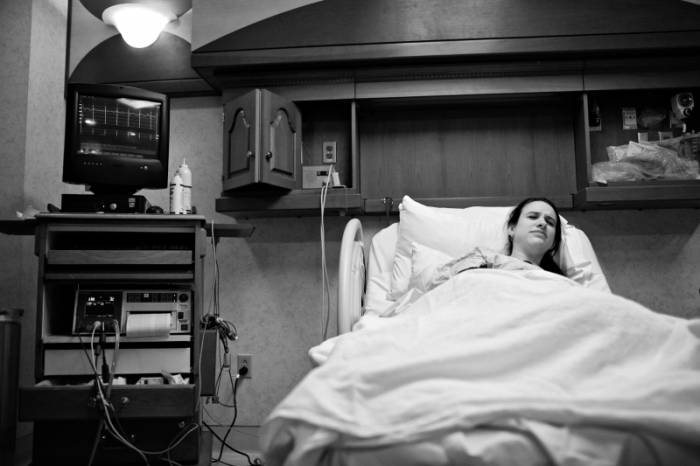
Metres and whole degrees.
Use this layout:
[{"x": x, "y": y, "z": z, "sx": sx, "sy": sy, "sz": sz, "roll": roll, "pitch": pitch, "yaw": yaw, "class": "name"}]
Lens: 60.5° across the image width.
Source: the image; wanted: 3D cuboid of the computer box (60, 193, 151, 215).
[{"x": -1.416, "y": -0.171, "z": 3.455, "sx": 0.454, "sy": 0.115, "sz": 0.091, "roll": -2, "pitch": 2, "yaw": -4, "class": "computer box"}]

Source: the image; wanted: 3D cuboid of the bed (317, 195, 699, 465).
[{"x": 1.027, "y": 0.179, "z": 3.463, "sx": 2.695, "sy": 0.813, "sz": 1.142, "roll": -2, "pitch": 3, "yaw": -13, "class": "bed"}]

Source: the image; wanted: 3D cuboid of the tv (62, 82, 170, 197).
[{"x": -1.366, "y": -0.537, "z": 3.828, "sx": 0.730, "sy": 0.796, "sz": 0.592, "roll": 1, "pitch": -8, "yaw": -10, "class": "tv"}]
